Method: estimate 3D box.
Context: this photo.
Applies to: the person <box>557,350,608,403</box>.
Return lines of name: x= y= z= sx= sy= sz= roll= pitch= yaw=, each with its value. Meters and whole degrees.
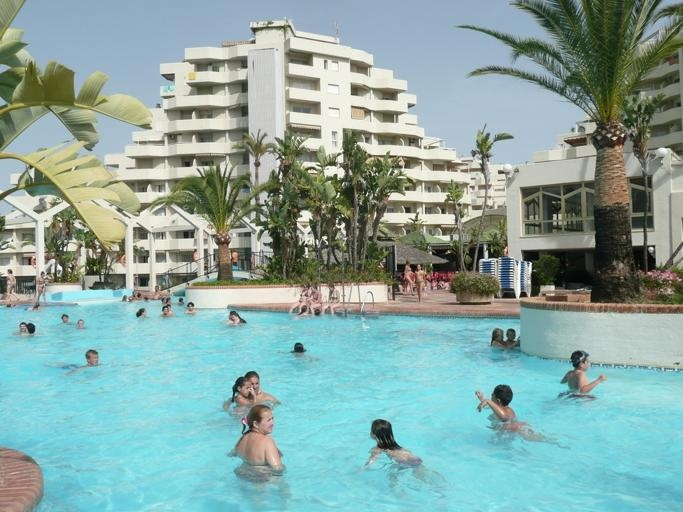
person: x=4.719 y=2.343 z=13.072 sx=0.790 sy=0.881 sz=0.558 roll=2 pitch=8 yaw=36

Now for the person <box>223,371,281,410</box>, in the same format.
person: x=-1.868 y=2.831 z=13.675 sx=0.828 sy=0.696 sz=0.439 roll=1 pitch=-6 yaw=-35

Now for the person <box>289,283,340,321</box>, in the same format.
person: x=-1.057 y=1.699 z=25.587 sx=1.885 sy=1.067 sz=1.455 roll=-3 pitch=6 yaw=-3

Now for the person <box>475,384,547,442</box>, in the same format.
person: x=3.043 y=2.732 z=11.704 sx=0.978 sy=0.842 sz=0.633 roll=0 pitch=6 yaw=17

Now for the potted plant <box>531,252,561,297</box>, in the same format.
potted plant: x=9.498 y=0.974 z=30.969 sx=1.004 sy=1.918 sz=1.557 roll=-6 pitch=7 yaw=-27

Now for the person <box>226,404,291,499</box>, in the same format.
person: x=-1.301 y=2.930 z=10.286 sx=0.815 sy=1.311 sz=1.184 roll=-4 pitch=6 yaw=-11

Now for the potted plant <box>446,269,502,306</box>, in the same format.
potted plant: x=5.054 y=1.229 z=25.086 sx=1.402 sy=0.967 sz=1.371 roll=0 pitch=0 yaw=-12
